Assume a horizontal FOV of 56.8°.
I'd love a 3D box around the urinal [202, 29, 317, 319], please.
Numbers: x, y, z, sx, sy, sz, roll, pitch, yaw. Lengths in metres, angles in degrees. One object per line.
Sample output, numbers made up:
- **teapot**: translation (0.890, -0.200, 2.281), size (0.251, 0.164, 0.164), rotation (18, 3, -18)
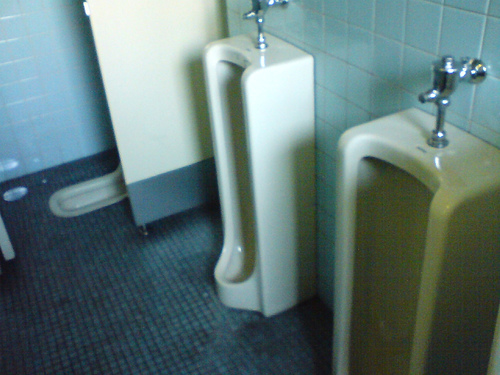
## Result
- **urinal**: translation (0.014, -0.016, 1.984), size (0.448, 1.121, 0.465), rotation (-13, 30, -16)
